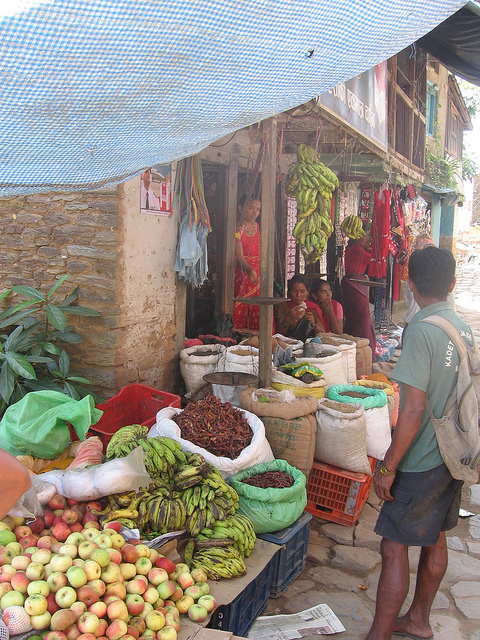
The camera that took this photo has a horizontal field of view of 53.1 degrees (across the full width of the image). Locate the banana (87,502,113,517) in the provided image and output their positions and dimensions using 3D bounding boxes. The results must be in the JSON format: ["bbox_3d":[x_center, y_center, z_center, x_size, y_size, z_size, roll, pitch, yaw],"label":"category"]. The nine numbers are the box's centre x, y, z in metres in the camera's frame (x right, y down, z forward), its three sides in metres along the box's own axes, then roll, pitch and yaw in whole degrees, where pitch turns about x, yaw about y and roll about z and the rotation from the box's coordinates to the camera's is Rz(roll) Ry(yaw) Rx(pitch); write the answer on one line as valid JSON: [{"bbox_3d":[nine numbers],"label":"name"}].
[{"bbox_3d":[-0.646,0.898,2.272,0.127,0.082,0.039,3,-14,-34],"label":"banana"}]

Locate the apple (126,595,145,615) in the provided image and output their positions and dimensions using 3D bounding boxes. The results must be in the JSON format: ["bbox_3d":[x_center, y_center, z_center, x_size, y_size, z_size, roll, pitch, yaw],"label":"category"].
[{"bbox_3d":[-0.399,1.087,1.828,0.063,0.062,0.063,6,3,10],"label":"apple"}]

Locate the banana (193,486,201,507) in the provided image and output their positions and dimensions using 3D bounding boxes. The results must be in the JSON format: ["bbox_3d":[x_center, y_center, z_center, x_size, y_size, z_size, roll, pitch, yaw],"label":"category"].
[{"bbox_3d":[-0.217,0.897,2.455,0.022,0.022,0.085,7,37,0],"label":"banana"}]

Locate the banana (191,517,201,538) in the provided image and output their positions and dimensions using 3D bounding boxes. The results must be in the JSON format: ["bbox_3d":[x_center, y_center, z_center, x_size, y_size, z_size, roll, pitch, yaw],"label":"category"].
[{"bbox_3d":[-0.213,1.018,2.350,0.025,0.086,0.028,12,-24,2],"label":"banana"}]

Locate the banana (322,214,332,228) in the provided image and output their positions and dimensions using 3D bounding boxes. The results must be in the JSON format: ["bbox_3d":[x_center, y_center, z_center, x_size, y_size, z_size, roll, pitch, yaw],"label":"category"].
[{"bbox_3d":[0.855,-0.983,4.706,0.034,0.118,0.092,-11,25,19],"label":"banana"}]

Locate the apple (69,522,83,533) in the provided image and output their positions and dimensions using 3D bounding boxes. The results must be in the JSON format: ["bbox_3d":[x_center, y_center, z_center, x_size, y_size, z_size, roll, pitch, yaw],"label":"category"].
[{"bbox_3d":[-0.717,0.901,2.100,0.041,0.049,0.039,5,-6,-30],"label":"apple"}]

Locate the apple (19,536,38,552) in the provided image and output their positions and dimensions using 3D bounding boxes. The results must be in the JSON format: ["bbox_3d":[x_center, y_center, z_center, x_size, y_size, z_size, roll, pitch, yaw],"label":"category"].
[{"bbox_3d":[-0.845,0.887,1.911,0.042,0.041,0.042,-4,9,-26],"label":"apple"}]

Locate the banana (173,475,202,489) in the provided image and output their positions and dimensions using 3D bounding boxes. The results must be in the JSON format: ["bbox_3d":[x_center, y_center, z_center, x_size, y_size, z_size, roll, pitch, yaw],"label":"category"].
[{"bbox_3d":[-0.260,0.829,2.495,0.171,0.051,0.057,-11,-5,8],"label":"banana"}]

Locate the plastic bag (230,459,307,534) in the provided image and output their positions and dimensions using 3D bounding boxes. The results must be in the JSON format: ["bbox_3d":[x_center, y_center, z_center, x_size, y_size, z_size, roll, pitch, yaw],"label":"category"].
[{"bbox_3d":[0.175,0.998,2.782,0.471,0.217,0.390,-2,12,-32],"label":"plastic bag"}]

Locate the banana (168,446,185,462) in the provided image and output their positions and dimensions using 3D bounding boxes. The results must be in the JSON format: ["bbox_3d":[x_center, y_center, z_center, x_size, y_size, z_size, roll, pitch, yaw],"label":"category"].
[{"bbox_3d":[-0.337,0.731,2.603,0.030,0.100,0.036,-42,4,18],"label":"banana"}]

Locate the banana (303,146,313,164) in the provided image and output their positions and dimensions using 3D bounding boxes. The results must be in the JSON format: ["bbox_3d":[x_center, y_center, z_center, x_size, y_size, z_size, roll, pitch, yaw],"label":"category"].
[{"bbox_3d":[0.642,-1.558,4.510,0.094,0.144,0.039,-9,-15,-26],"label":"banana"}]

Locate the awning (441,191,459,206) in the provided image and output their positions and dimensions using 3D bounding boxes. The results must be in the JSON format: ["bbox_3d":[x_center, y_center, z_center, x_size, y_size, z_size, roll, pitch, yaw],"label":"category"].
[{"bbox_3d":[7.409,-4.295,16.848,0.729,0.297,0.882,-1,1,0],"label":"awning"}]

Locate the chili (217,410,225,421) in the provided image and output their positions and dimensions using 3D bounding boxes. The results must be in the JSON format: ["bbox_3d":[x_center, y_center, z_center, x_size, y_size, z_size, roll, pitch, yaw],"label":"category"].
[{"bbox_3d":[-0.119,0.608,3.060,0.011,0.014,0.074,-7,46,-31],"label":"chili"}]

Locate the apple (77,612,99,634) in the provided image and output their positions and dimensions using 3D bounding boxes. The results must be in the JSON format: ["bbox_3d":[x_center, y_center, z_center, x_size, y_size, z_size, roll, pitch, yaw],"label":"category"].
[{"bbox_3d":[-0.509,1.019,1.612,0.054,0.054,0.055,0,-5,1],"label":"apple"}]

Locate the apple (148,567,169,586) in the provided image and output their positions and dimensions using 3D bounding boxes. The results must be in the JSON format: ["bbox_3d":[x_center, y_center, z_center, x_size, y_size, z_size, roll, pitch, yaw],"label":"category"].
[{"bbox_3d":[-0.338,1.073,2.006,0.060,0.060,0.062,-29,11,-11],"label":"apple"}]

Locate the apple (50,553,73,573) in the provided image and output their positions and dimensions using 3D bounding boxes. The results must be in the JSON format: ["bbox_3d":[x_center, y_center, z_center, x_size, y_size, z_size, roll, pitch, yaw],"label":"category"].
[{"bbox_3d":[-0.650,0.889,1.751,0.054,0.056,0.055,13,12,33],"label":"apple"}]

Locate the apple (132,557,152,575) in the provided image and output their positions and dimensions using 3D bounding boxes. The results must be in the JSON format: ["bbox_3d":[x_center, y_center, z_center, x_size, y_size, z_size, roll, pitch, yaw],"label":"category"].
[{"bbox_3d":[-0.408,1.014,2.008,0.063,0.062,0.063,3,5,-28],"label":"apple"}]

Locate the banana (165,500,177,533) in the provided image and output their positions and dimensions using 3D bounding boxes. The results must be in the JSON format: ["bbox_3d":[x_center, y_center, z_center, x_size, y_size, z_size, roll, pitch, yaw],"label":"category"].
[{"bbox_3d":[-0.327,0.942,2.302,0.031,0.138,0.047,7,-15,-7],"label":"banana"}]

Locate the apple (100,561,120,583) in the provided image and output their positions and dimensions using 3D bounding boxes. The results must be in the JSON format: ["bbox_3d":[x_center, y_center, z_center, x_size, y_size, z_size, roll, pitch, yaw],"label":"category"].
[{"bbox_3d":[-0.492,0.963,1.822,0.058,0.059,0.058,4,22,18],"label":"apple"}]

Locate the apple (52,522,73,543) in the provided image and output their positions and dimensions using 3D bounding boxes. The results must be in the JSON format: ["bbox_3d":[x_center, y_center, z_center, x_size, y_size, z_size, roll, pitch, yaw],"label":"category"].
[{"bbox_3d":[-0.744,0.887,2.003,0.067,0.068,0.070,9,8,10],"label":"apple"}]

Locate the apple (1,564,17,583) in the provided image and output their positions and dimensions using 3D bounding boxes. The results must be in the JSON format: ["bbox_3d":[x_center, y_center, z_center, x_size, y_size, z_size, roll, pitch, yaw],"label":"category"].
[{"bbox_3d":[-0.819,0.892,1.691,0.042,0.042,0.050,18,-14,5],"label":"apple"}]

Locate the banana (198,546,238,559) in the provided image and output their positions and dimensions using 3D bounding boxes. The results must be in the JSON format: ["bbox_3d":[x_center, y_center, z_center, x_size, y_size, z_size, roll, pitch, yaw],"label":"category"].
[{"bbox_3d":[-0.101,1.102,2.267,0.136,0.036,0.028,13,12,4],"label":"banana"}]

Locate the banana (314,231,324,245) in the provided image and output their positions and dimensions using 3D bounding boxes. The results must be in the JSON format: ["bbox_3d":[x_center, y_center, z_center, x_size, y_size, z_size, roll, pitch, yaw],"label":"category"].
[{"bbox_3d":[0.769,-0.799,4.611,0.028,0.107,0.083,-4,16,32],"label":"banana"}]

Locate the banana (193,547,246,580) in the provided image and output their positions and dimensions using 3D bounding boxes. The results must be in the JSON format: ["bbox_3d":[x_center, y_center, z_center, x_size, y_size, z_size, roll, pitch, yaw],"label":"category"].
[{"bbox_3d":[-0.084,1.131,2.237,0.183,0.065,0.131,13,-9,5],"label":"banana"}]

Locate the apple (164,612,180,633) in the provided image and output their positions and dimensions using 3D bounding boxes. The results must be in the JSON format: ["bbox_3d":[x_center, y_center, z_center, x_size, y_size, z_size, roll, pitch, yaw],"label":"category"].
[{"bbox_3d":[-0.256,1.152,1.837,0.053,0.052,0.051,12,3,-30],"label":"apple"}]

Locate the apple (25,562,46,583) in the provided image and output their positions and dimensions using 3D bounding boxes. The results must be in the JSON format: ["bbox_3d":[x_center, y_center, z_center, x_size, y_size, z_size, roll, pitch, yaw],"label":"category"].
[{"bbox_3d":[-0.725,0.895,1.704,0.053,0.052,0.051,5,-9,3],"label":"apple"}]

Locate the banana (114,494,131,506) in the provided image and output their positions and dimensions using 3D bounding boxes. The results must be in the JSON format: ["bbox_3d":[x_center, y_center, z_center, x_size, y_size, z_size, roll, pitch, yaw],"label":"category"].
[{"bbox_3d":[-0.547,0.842,2.249,0.063,0.028,0.049,20,-5,13],"label":"banana"}]

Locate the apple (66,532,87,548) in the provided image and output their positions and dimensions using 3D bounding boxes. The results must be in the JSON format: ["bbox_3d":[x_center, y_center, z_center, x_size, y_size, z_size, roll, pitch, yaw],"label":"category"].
[{"bbox_3d":[-0.651,0.875,1.908,0.043,0.043,0.047,-9,-13,-41],"label":"apple"}]

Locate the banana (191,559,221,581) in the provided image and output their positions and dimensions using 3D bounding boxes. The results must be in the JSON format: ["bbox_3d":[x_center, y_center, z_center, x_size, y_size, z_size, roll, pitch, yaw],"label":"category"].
[{"bbox_3d":[-0.146,1.143,2.189,0.104,0.034,0.021,37,51,26],"label":"banana"}]

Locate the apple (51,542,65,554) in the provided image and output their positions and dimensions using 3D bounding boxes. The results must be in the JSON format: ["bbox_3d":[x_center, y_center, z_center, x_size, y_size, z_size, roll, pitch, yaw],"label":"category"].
[{"bbox_3d":[-0.718,0.894,1.887,0.032,0.020,0.037,-2,13,17],"label":"apple"}]

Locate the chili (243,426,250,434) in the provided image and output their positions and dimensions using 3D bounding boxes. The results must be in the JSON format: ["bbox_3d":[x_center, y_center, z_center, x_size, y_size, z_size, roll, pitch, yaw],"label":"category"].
[{"bbox_3d":[0.041,0.699,3.060,0.036,0.021,0.050,-3,5,22],"label":"chili"}]

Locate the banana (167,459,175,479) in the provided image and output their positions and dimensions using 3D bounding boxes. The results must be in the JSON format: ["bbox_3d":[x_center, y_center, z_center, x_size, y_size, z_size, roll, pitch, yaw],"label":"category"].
[{"bbox_3d":[-0.362,0.784,2.522,0.026,0.096,0.029,-13,9,42],"label":"banana"}]

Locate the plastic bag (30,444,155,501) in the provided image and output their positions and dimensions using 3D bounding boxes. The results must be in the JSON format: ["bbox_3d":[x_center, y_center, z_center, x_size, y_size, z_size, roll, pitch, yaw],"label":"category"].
[{"bbox_3d":[-0.748,0.771,2.332,0.695,0.262,0.214,-11,-5,18],"label":"plastic bag"}]

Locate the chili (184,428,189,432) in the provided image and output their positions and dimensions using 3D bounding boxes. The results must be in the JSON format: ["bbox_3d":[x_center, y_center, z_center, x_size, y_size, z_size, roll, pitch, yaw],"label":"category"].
[{"bbox_3d":[-0.317,0.659,2.882,0.023,0.005,0.022,24,6,17],"label":"chili"}]

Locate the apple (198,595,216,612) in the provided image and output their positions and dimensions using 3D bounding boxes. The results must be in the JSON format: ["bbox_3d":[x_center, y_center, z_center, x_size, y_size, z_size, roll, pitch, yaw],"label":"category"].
[{"bbox_3d":[-0.139,1.195,2.030,0.053,0.051,0.053,-1,-2,1],"label":"apple"}]

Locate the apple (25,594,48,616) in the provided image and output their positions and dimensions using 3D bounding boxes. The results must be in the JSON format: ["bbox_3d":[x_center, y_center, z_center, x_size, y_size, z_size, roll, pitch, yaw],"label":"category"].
[{"bbox_3d":[-0.670,0.939,1.578,0.051,0.050,0.051,22,18,18],"label":"apple"}]

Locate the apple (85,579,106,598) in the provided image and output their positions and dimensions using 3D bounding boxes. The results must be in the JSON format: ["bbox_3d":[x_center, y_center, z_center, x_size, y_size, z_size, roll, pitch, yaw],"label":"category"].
[{"bbox_3d":[-0.519,0.965,1.755,0.061,0.076,0.063,3,11,-3],"label":"apple"}]

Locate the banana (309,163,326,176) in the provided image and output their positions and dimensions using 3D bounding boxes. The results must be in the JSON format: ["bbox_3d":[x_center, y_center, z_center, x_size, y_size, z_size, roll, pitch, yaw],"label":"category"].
[{"bbox_3d":[0.746,-1.417,4.501,0.195,0.056,0.059,46,15,8],"label":"banana"}]

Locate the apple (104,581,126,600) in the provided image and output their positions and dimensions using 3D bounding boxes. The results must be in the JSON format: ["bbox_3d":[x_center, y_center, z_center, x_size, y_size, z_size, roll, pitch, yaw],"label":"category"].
[{"bbox_3d":[-0.466,1.016,1.809,0.067,0.068,0.068,4,3,12],"label":"apple"}]

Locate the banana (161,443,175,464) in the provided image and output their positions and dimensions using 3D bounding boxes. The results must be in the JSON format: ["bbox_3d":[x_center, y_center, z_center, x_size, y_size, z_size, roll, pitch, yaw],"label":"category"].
[{"bbox_3d":[-0.369,0.701,2.534,0.038,0.116,0.038,-23,-9,6],"label":"banana"}]

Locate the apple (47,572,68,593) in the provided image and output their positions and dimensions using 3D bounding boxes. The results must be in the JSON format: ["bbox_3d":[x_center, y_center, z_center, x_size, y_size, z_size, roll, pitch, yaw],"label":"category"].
[{"bbox_3d":[-0.646,0.922,1.697,0.056,0.058,0.059,-19,-22,-11],"label":"apple"}]

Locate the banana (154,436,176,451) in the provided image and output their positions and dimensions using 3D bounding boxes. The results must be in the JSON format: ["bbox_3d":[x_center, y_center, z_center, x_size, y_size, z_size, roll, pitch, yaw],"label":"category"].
[{"bbox_3d":[-0.398,0.670,2.613,0.045,0.039,0.150,5,-17,37],"label":"banana"}]

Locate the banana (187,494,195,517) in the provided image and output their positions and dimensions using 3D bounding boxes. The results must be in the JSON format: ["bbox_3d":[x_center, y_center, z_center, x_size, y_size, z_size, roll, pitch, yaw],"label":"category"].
[{"bbox_3d":[-0.240,0.941,2.413,0.022,0.082,0.027,23,-33,2],"label":"banana"}]

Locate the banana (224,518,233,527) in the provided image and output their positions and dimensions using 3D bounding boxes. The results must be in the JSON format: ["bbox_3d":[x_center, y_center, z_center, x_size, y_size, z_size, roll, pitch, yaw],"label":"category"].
[{"bbox_3d":[-0.053,1.020,2.416,0.042,0.025,0.039,-4,-2,13],"label":"banana"}]
